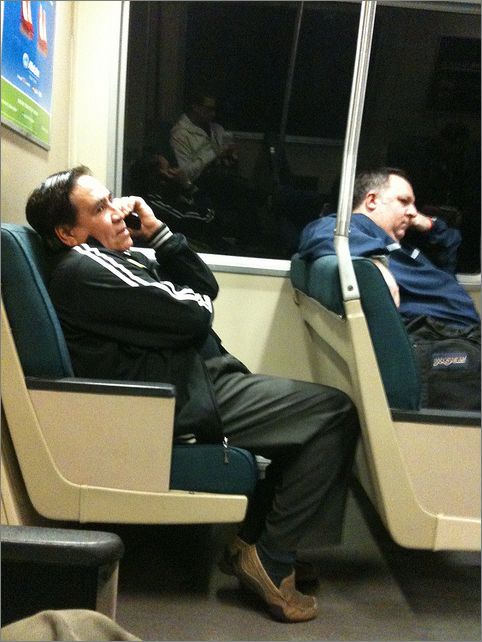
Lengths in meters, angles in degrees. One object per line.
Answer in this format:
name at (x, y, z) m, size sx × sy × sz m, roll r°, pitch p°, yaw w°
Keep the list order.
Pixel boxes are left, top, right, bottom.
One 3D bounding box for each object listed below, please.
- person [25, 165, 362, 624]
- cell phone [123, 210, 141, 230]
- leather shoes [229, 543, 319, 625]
person at (-0.106, 0.219, 1.838) m, size 0.864 × 1.484 × 0.553 m, roll -11°, pitch 0°, yaw -7°
cell phone at (-0.397, -0.366, 2.050) m, size 0.083 × 0.050 × 0.058 m, roll 6°, pitch -1°, yaw 13°
leather shoes at (0.072, 0.710, 1.640) m, size 0.317 × 0.138 × 0.126 m, roll 35°, pitch -6°, yaw 9°
